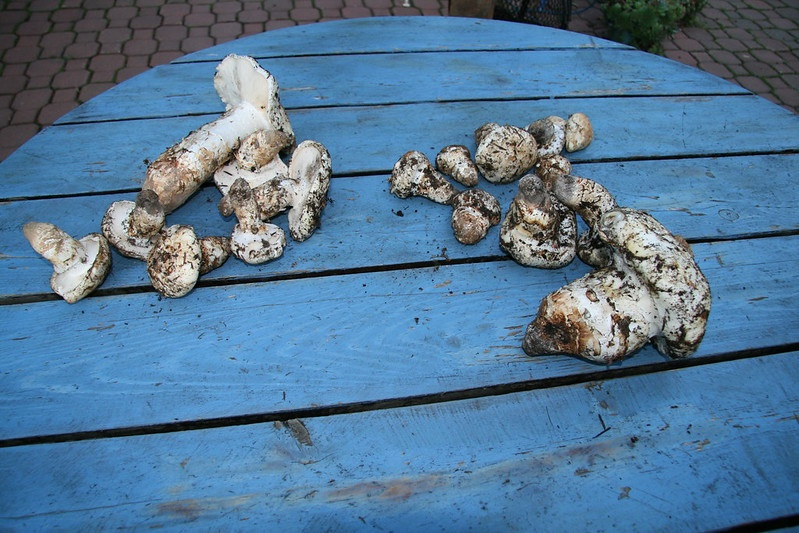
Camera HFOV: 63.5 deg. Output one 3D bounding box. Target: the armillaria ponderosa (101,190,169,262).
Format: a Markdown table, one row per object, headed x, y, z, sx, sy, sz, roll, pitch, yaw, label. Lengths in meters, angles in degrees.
| x | y | z | sx | sy | sz | roll | pitch | yaw | label |
| --- | --- | --- | --- | --- | --- | --- | --- | --- | --- |
| -0.964 | -0.175 | 2.453 | 0.288 | 0.224 | 0.332 | 1 | 40 | -28 | armillaria ponderosa |

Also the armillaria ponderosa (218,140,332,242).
| x | y | z | sx | sy | sz | roll | pitch | yaw | label |
| --- | --- | --- | --- | --- | --- | --- | --- | --- | --- |
| -0.491 | -0.285 | 2.664 | 0.489 | 0.161 | 0.422 | 12 | 58 | -6 | armillaria ponderosa |

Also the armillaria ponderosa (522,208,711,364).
| x | y | z | sx | sy | sz | roll | pitch | yaw | label |
| --- | --- | --- | --- | --- | --- | --- | --- | --- | --- |
| 0.788 | 0.080 | 2.296 | 0.589 | 0.363 | 0.472 | 9 | 56 | 3 | armillaria ponderosa |

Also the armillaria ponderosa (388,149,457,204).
| x | y | z | sx | sy | sz | roll | pitch | yaw | label |
| --- | --- | --- | --- | --- | --- | --- | --- | --- | --- |
| 0.090 | -0.383 | 2.731 | 0.277 | 0.191 | 0.111 | 27 | 19 | -5 | armillaria ponderosa |

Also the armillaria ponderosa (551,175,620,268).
| x | y | z | sx | sy | sz | roll | pitch | yaw | label |
| --- | --- | --- | --- | --- | --- | --- | --- | --- | --- |
| 0.750 | -0.188 | 2.529 | 0.249 | 0.406 | 0.191 | -17 | 31 | 13 | armillaria ponderosa |

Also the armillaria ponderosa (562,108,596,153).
| x | y | z | sx | sy | sz | roll | pitch | yaw | label |
| --- | --- | --- | --- | --- | --- | --- | --- | --- | --- |
| 0.796 | -0.587 | 2.818 | 0.147 | 0.056 | 0.161 | 8 | 80 | -6 | armillaria ponderosa |

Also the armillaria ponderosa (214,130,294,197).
| x | y | z | sx | sy | sz | roll | pitch | yaw | label |
| --- | --- | --- | --- | --- | --- | --- | --- | --- | --- |
| -0.598 | -0.410 | 2.729 | 0.257 | 0.130 | 0.300 | 33 | 84 | 0 | armillaria ponderosa |

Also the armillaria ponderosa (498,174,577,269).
| x | y | z | sx | sy | sz | roll | pitch | yaw | label |
| --- | --- | --- | --- | --- | --- | --- | --- | --- | --- |
| 0.544 | -0.158 | 2.462 | 0.251 | 0.261 | 0.257 | -37 | 68 | -3 | armillaria ponderosa |

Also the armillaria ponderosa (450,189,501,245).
| x | y | z | sx | sy | sz | roll | pitch | yaw | label |
| --- | --- | --- | --- | --- | --- | --- | --- | --- | --- |
| 0.309 | -0.184 | 2.636 | 0.200 | 0.103 | 0.225 | 24 | 60 | 16 | armillaria ponderosa |

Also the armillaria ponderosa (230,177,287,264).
| x | y | z | sx | sy | sz | roll | pitch | yaw | label |
| --- | --- | --- | --- | --- | --- | --- | --- | --- | --- |
| -0.550 | -0.172 | 2.527 | 0.238 | 0.316 | 0.222 | 13 | 24 | 40 | armillaria ponderosa |

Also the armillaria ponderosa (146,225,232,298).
| x | y | z | sx | sy | sz | roll | pitch | yaw | label |
| --- | --- | --- | --- | --- | --- | --- | --- | --- | --- |
| -0.809 | -0.019 | 2.479 | 0.324 | 0.154 | 0.228 | -24 | 84 | -6 | armillaria ponderosa |
